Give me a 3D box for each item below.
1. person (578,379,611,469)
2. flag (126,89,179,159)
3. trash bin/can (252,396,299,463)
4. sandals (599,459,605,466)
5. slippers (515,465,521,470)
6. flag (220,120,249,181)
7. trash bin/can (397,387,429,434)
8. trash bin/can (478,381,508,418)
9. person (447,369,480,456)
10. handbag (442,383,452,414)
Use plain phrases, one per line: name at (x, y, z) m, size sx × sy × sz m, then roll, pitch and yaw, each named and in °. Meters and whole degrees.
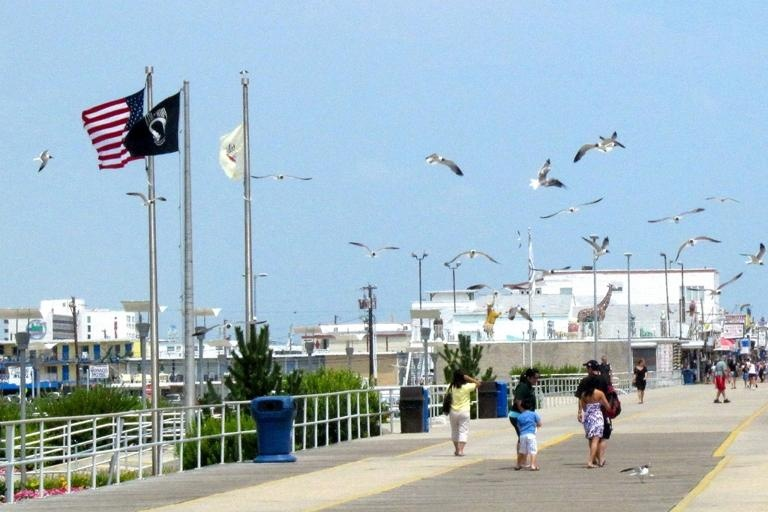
person at (6.401, 4.990, 50.729) m, size 0.975 × 2.480 × 1.412 m, roll 0°, pitch 0°, yaw 3°
flag at (-8.177, -4.623, 59.525) m, size 1.868 × 2.121 × 0.658 m, roll -4°, pitch -7°, yaw -2°
trash bin/can at (-3.407, 5.338, 52.182) m, size 1.326 × 2.072 × 0.713 m, roll -4°, pitch -7°, yaw -4°
sandals at (6.672, 6.161, 50.483) m, size 0.093 × 0.103 × 0.267 m, roll 4°, pitch 36°, yaw 10°
slippers at (4.091, 6.273, 50.166) m, size 0.188 × 0.132 × 0.263 m, roll -5°, pitch -8°, yaw 3°
flag at (-6.210, -4.127, 69.639) m, size 0.656 × 1.879 × 1.337 m, roll 1°, pitch -9°, yaw -36°
trash bin/can at (1.123, 5.430, 60.014) m, size 1.013 × 1.666 × 1.037 m, roll -4°, pitch -7°, yaw -1°
trash bin/can at (4.437, 5.665, 67.668) m, size 1.358 × 1.903 × 1.359 m, roll -1°, pitch 2°, yaw -11°
person at (2.537, 4.932, 53.134) m, size 1.073 × 2.542 × 0.878 m, roll 1°, pitch -1°, yaw 10°
handbag at (2.092, 4.453, 52.965) m, size 0.319 × 0.847 × 0.668 m, roll -5°, pitch -7°, yaw 2°
